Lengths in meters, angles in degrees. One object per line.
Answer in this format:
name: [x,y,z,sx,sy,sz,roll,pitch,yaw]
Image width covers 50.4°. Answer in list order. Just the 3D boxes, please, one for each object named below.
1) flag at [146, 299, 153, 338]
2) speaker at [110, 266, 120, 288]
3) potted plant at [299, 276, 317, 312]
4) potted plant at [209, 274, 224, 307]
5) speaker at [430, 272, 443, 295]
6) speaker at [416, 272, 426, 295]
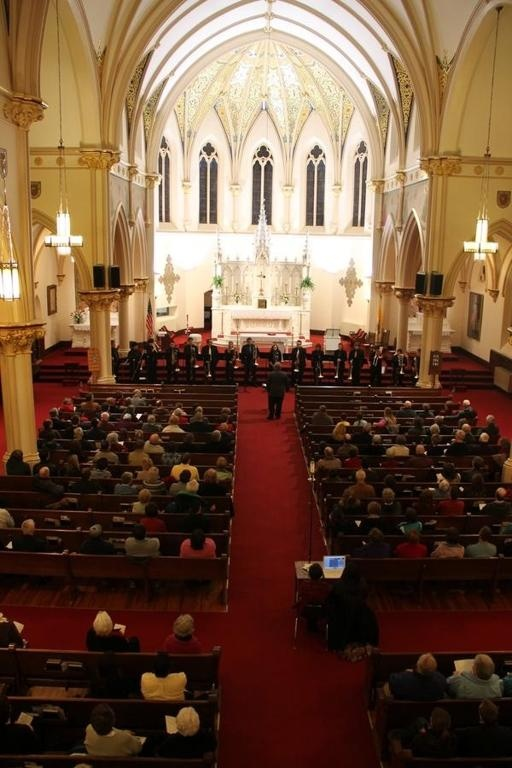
flag: [-5.255,-3.235,26.707,0.308,1.904,2.011,-1,8,-13]
speaker: [-4.886,-3.680,18.738,0.215,0.765,0.526,3,7,15]
potted plant: [2.797,-5.075,30.276,0.615,1.937,0.929,1,7,3]
potted plant: [-2.126,-5.195,30.078,0.523,1.655,1.008,0,7,-7]
speaker: [6.154,-3.429,18.601,0.404,0.825,0.349,3,7,12]
speaker: [5.751,-3.488,18.943,0.372,0.778,0.205,5,8,30]
